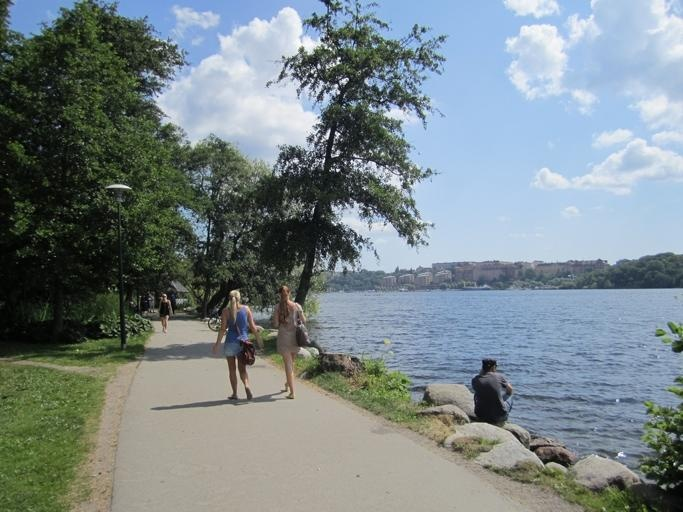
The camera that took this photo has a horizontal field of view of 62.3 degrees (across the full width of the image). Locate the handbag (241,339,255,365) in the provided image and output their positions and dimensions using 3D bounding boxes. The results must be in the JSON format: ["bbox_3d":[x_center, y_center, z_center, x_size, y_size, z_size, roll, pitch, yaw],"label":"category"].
[{"bbox_3d":[-2.263,2.289,13.404,0.337,0.568,0.318,3,-6,-12],"label":"handbag"}]

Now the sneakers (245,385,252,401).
[{"bbox_3d":[-2.247,3.284,13.549,0.125,0.452,0.161,-6,15,-11],"label":"sneakers"}]

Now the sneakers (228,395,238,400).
[{"bbox_3d":[-2.646,3.419,13.691,0.099,0.142,0.294,4,2,-40],"label":"sneakers"}]

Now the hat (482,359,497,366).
[{"bbox_3d":[3.632,2.606,13.832,0.217,0.172,0.282,5,5,42],"label":"hat"}]

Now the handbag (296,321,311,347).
[{"bbox_3d":[-1.012,1.990,14.410,0.351,0.633,1.374,2,-8,-4],"label":"handbag"}]

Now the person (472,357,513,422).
[{"bbox_3d":[3.654,3.284,13.768,0.897,1.552,1.300,0,-7,17],"label":"person"}]
